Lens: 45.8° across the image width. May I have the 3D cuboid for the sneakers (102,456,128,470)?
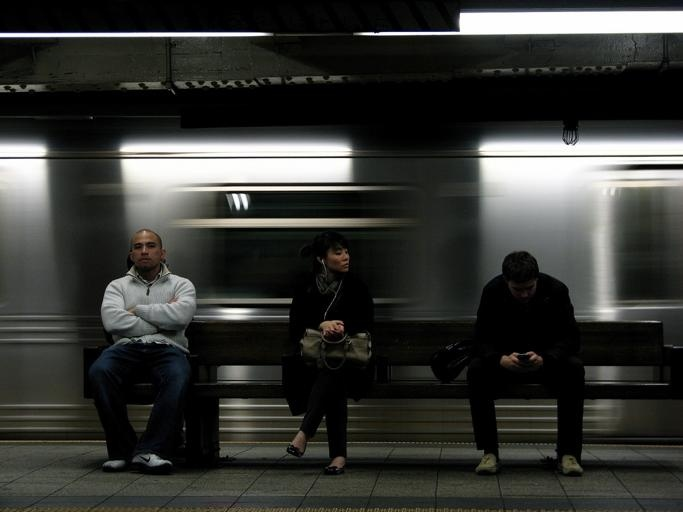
[{"bbox_3d":[-1.814,1.638,6.409,0.144,0.042,0.095,0,-3,18],"label":"sneakers"}]

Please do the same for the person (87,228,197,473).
[{"bbox_3d":[-1.618,0.742,6.575,0.810,1.839,0.926,-1,7,-4],"label":"person"}]

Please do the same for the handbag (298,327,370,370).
[{"bbox_3d":[0.014,0.720,6.359,0.597,0.297,0.320,0,7,28],"label":"handbag"}]

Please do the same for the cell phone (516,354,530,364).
[{"bbox_3d":[1.386,0.775,6.150,0.104,0.088,0.069,1,-4,12],"label":"cell phone"}]

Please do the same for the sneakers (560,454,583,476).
[{"bbox_3d":[1.766,1.599,6.168,0.113,0.077,0.190,0,-11,2],"label":"sneakers"}]

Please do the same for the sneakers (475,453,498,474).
[{"bbox_3d":[1.135,1.599,6.238,0.173,0.171,0.099,1,7,8],"label":"sneakers"}]

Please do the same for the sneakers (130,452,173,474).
[{"bbox_3d":[-1.477,1.610,6.339,0.376,0.150,0.134,5,4,9],"label":"sneakers"}]

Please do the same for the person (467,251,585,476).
[{"bbox_3d":[1.454,0.817,6.308,0.880,1.695,0.607,2,8,16],"label":"person"}]
